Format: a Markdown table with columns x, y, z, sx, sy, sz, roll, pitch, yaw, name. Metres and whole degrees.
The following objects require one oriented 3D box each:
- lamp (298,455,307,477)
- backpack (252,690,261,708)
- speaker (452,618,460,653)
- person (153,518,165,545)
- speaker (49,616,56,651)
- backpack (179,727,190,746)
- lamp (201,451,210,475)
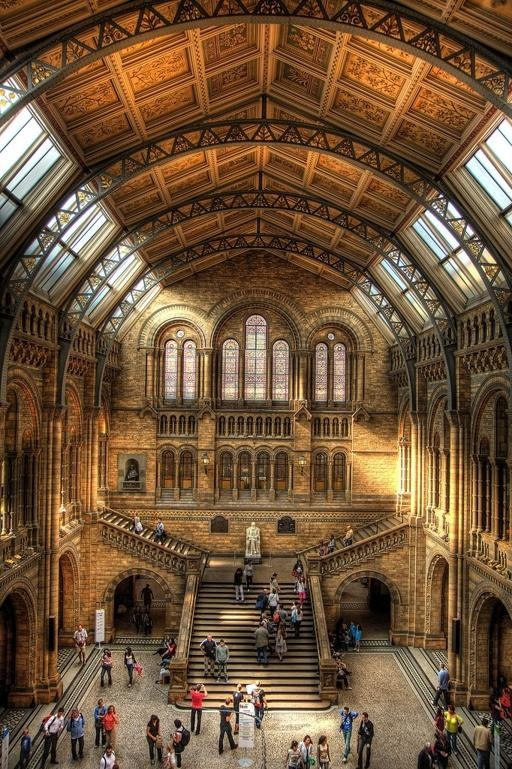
| x | y | z | sx | sy | sz | roll | pitch | yaw | name |
| --- | --- | --- | --- | --- | --- | --- | --- | --- | --- |
| 2.475 | 4.257 | 29.438 | 0.448 | 0.983 | 0.373 | 1 | -6 | -2 | lamp |
| 0.041 | 9.024 | 16.112 | 0.222 | 0.573 | 0.367 | 0 | -6 | 3 | backpack |
| 6.453 | 8.067 | 18.018 | 0.275 | 1.115 | 0.220 | -2 | -7 | 21 | speaker |
| -4.780 | 7.285 | 27.937 | 0.535 | 0.889 | 1.713 | 2 | -6 | -10 | person |
| -6.474 | 7.909 | 17.830 | 0.204 | 1.107 | 0.330 | 1 | -6 | -8 | speaker |
| -1.699 | 8.450 | 13.447 | 0.139 | 0.443 | 0.403 | 0 | -6 | 10 | backpack |
| -2.572 | 4.123 | 29.186 | 0.409 | 1.172 | 0.563 | 1 | -6 | -7 | lamp |
